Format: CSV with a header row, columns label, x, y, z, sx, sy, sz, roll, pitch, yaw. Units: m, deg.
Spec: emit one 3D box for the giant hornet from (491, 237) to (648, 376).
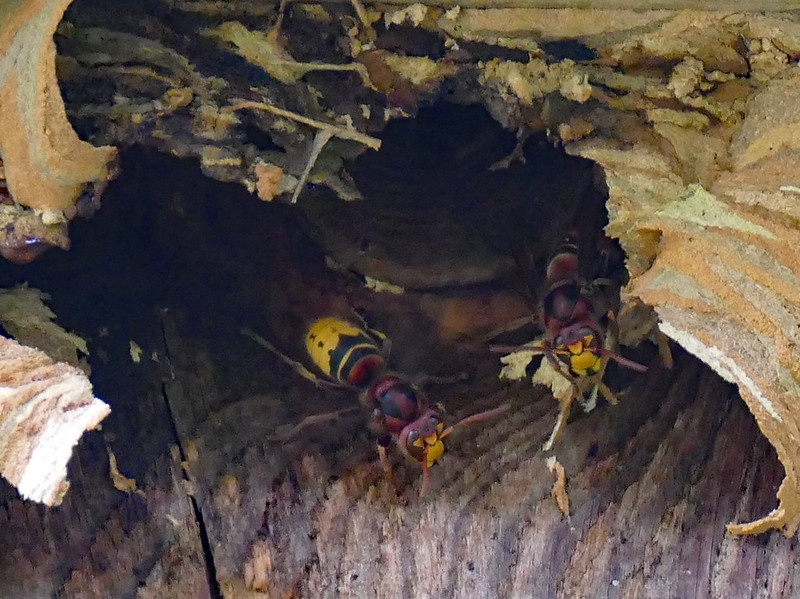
label,x,y,z,sx,sy,sz,roll,pitch,yaw
giant hornet,1.162,0.144,9.964,0.807,0.269,0.991,-15,59,28
